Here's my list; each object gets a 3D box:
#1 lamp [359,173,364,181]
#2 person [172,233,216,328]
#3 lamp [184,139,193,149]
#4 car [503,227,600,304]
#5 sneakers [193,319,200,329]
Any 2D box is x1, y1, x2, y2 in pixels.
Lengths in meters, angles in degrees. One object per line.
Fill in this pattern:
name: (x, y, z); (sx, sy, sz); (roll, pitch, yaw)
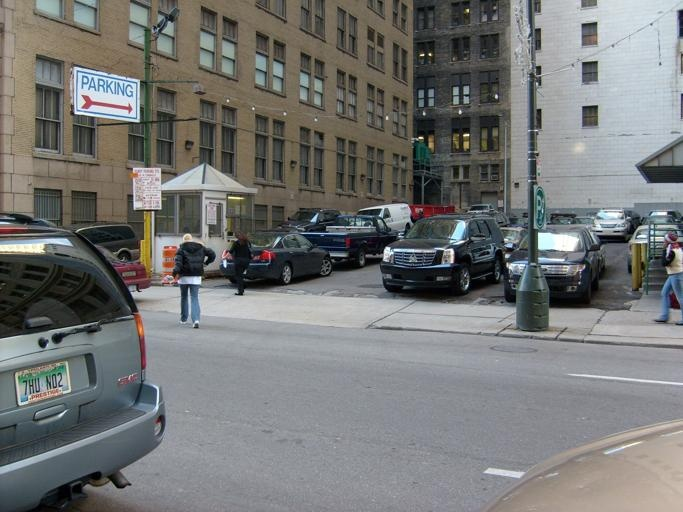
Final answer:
lamp: (1.419, -5.503, 45.792); (0.355, 0.699, 0.357); (-1, 1, -8)
person: (-3.079, 0.488, 13.750); (0.785, 1.877, 0.744); (-1, 4, -15)
lamp: (-6.961, -5.133, 30.241); (0.317, 0.486, 0.374); (1, -4, -23)
car: (5.478, 0.223, 17.155); (2.006, 1.994, 3.814); (2, 4, 28)
sneakers: (-2.965, 1.393, 13.541); (0.078, 0.098, 0.226); (1, -31, -16)
